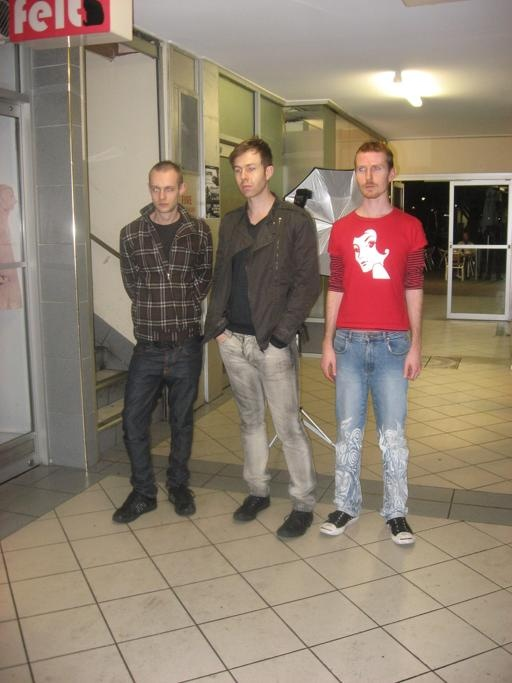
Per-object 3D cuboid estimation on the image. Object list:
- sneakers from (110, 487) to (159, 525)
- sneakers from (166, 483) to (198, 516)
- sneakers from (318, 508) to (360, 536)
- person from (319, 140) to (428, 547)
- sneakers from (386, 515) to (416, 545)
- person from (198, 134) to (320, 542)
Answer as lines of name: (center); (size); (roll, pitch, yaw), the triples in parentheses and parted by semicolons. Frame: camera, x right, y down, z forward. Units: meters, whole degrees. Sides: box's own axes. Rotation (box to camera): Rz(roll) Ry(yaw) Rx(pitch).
sneakers: (-0.566, 0.766, 2.661); (0.083, 0.090, 0.220); (8, 6, 30)
sneakers: (-0.344, 0.759, 2.671); (0.072, 0.066, 0.182); (-2, 4, -22)
sneakers: (0.349, 0.777, 2.442); (0.069, 0.066, 0.184); (19, 5, 31)
person: (0.471, 0.154, 2.326); (0.411, 1.353, 0.223); (1, 7, 16)
sneakers: (0.604, 0.781, 2.320); (0.063, 0.055, 0.153); (-2, -2, 1)
person: (0.025, 0.006, 2.403); (0.337, 1.651, 0.403); (-6, 9, -34)
